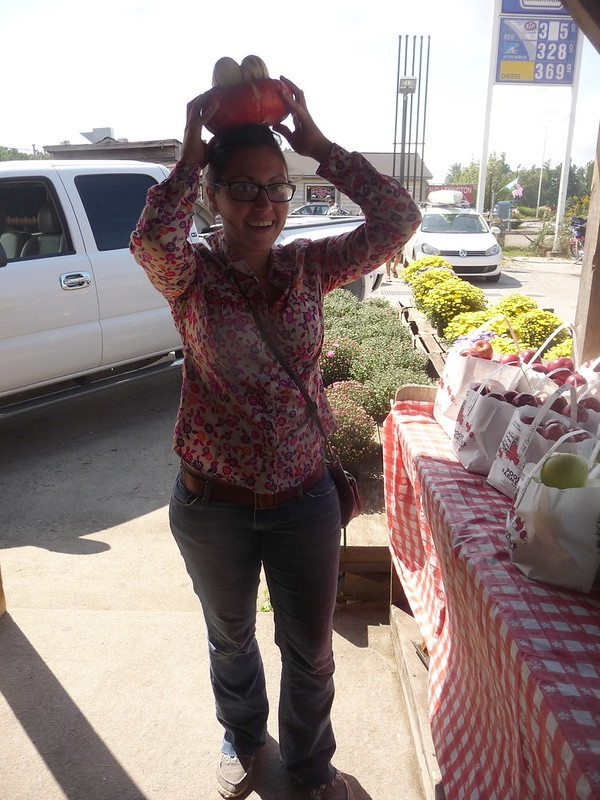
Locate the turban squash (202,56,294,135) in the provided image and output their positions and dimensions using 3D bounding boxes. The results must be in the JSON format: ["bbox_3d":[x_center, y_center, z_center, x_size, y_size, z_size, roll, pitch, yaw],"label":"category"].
[{"bbox_3d":[-0.106,-0.711,1.332,0.221,0.177,0.083,-7,15,-30],"label":"turban squash"}]
